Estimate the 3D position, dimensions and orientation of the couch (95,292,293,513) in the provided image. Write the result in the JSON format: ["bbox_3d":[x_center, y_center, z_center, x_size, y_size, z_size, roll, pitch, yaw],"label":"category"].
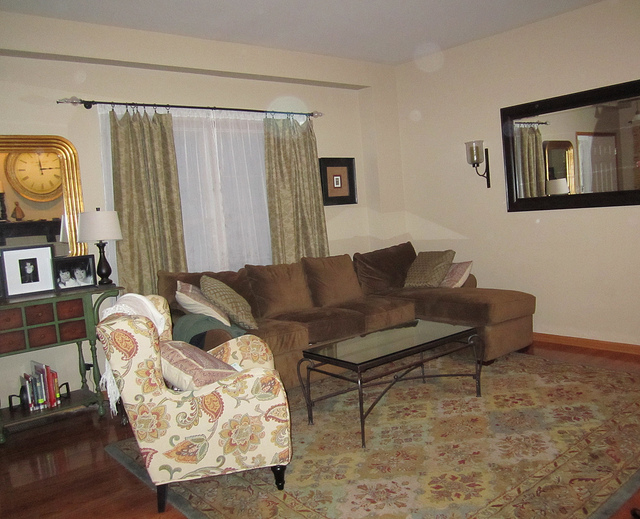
[{"bbox_3d":[-0.611,0.623,3.176,1.340,1.266,0.984,-4,16,-15],"label":"couch"}]

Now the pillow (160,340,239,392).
[{"bbox_3d":[-0.664,0.523,2.692,0.317,0.102,0.336,27,9,20],"label":"pillow"}]

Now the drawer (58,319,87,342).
[{"bbox_3d":[-1.917,0.542,3.889,0.248,0.152,0.138,-11,15,-36],"label":"drawer"}]

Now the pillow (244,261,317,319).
[{"bbox_3d":[-0.371,0.274,4.785,0.615,0.525,0.174,-11,-17,-38],"label":"pillow"}]

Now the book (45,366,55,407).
[{"bbox_3d":[-2.102,0.991,3.874,0.040,0.297,0.096,-10,10,-23],"label":"book"}]

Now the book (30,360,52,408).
[{"bbox_3d":[-2.177,0.987,3.876,0.042,0.341,0.323,-10,7,-28],"label":"book"}]

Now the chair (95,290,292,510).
[{"bbox_3d":[-0.709,0.631,3.248,1.353,1.359,1.046,-5,18,-16],"label":"chair"}]

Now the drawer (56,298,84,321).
[{"bbox_3d":[-1.939,0.382,3.859,0.185,0.147,0.040,-10,9,-28],"label":"drawer"}]

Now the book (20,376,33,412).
[{"bbox_3d":[-2.264,1.043,3.840,0.031,0.258,0.259,-4,-4,-36],"label":"book"}]

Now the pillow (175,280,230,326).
[{"bbox_3d":[-0.924,0.345,3.923,0.373,0.340,0.313,-7,9,-11],"label":"pillow"}]

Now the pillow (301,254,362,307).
[{"bbox_3d":[0.111,0.216,5.128,0.598,0.510,0.165,-8,-20,-34],"label":"pillow"}]

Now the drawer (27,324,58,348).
[{"bbox_3d":[-2.092,0.568,3.738,0.255,0.161,0.143,-8,8,-43],"label":"drawer"}]

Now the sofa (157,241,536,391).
[{"bbox_3d":[0.259,0.476,4.662,3.165,1.106,1.567,-8,9,-22],"label":"sofa"}]

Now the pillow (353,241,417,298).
[{"bbox_3d":[0.686,0.120,5.533,0.877,0.460,0.215,-13,-7,-22],"label":"pillow"}]
